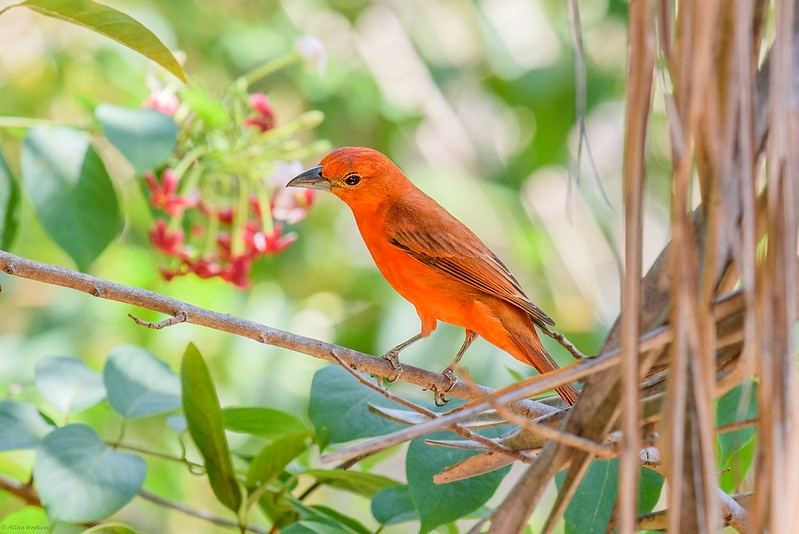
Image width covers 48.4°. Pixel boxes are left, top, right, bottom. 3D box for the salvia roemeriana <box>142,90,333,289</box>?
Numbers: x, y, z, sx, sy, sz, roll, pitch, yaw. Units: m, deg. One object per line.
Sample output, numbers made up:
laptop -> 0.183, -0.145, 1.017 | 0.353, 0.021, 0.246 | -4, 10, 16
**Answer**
salvia roemeriana -> -0.905, -0.342, 4.437 | 0.946, 0.573, 0.997 | -18, -53, -47
